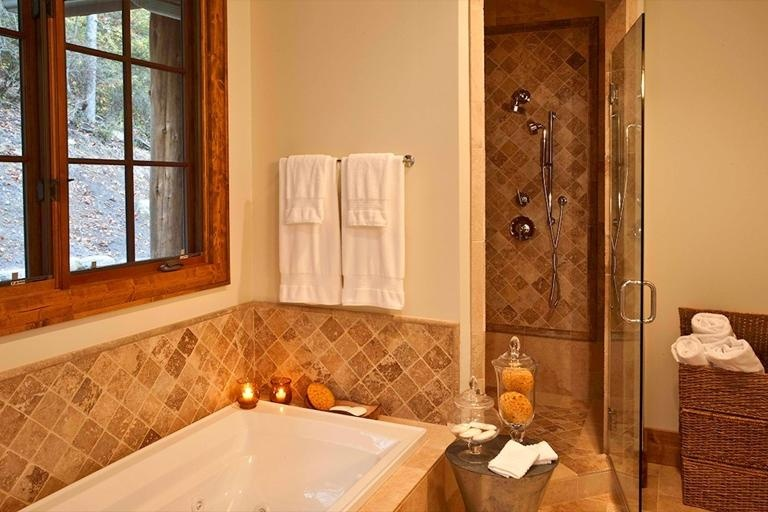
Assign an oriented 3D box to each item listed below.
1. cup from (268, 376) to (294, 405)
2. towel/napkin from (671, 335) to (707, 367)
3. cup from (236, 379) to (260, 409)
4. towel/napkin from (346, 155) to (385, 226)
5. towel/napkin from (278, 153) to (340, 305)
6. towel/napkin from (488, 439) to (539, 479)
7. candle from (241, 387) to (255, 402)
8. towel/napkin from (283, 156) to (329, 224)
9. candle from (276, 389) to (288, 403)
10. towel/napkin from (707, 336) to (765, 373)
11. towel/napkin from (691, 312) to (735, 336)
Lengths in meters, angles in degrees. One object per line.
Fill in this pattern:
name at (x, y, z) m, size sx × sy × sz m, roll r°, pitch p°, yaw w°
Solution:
cup at (-0.673, 0.865, 3.534) m, size 0.159 × 0.155 × 0.160 m, roll 1°, pitch -4°, yaw 0°
towel/napkin at (2.017, 0.597, 3.591) m, size 0.179 × 0.073 × 0.181 m, roll -2°, pitch 21°, yaw 5°
cup at (-0.871, 0.889, 3.535) m, size 0.158 × 0.160 × 0.154 m, roll 1°, pitch 2°, yaw 0°
towel/napkin at (-0.121, -0.409, 3.350) m, size 0.269 × 0.432 × 0.086 m, roll 2°, pitch 6°, yaw 5°
towel/napkin at (-0.491, -0.175, 3.521) m, size 0.457 × 0.946 × 0.177 m, roll -1°, pitch -5°, yaw 19°
towel/napkin at (0.666, 1.049, 2.807) m, size 0.156 × 0.044 × 0.161 m, roll 13°, pitch 39°, yaw 41°
candle at (-0.869, 0.873, 3.452) m, size 0.076 × 0.075 × 0.079 m, roll 3°, pitch 3°, yaw 37°
towel/napkin at (-0.488, -0.427, 3.458) m, size 0.418 × 0.538 × 0.110 m, roll 0°, pitch -4°, yaw 14°
candle at (-0.670, 0.900, 3.519) m, size 0.077 × 0.057 × 0.079 m, roll -4°, pitch -9°, yaw 32°
towel/napkin at (2.234, 0.645, 3.461) m, size 0.243 × 0.116 × 0.251 m, roll 2°, pitch -1°, yaw 35°
towel/napkin at (2.227, 0.434, 3.690) m, size 0.150 × 0.086 × 0.215 m, roll -3°, pitch 8°, yaw 9°
